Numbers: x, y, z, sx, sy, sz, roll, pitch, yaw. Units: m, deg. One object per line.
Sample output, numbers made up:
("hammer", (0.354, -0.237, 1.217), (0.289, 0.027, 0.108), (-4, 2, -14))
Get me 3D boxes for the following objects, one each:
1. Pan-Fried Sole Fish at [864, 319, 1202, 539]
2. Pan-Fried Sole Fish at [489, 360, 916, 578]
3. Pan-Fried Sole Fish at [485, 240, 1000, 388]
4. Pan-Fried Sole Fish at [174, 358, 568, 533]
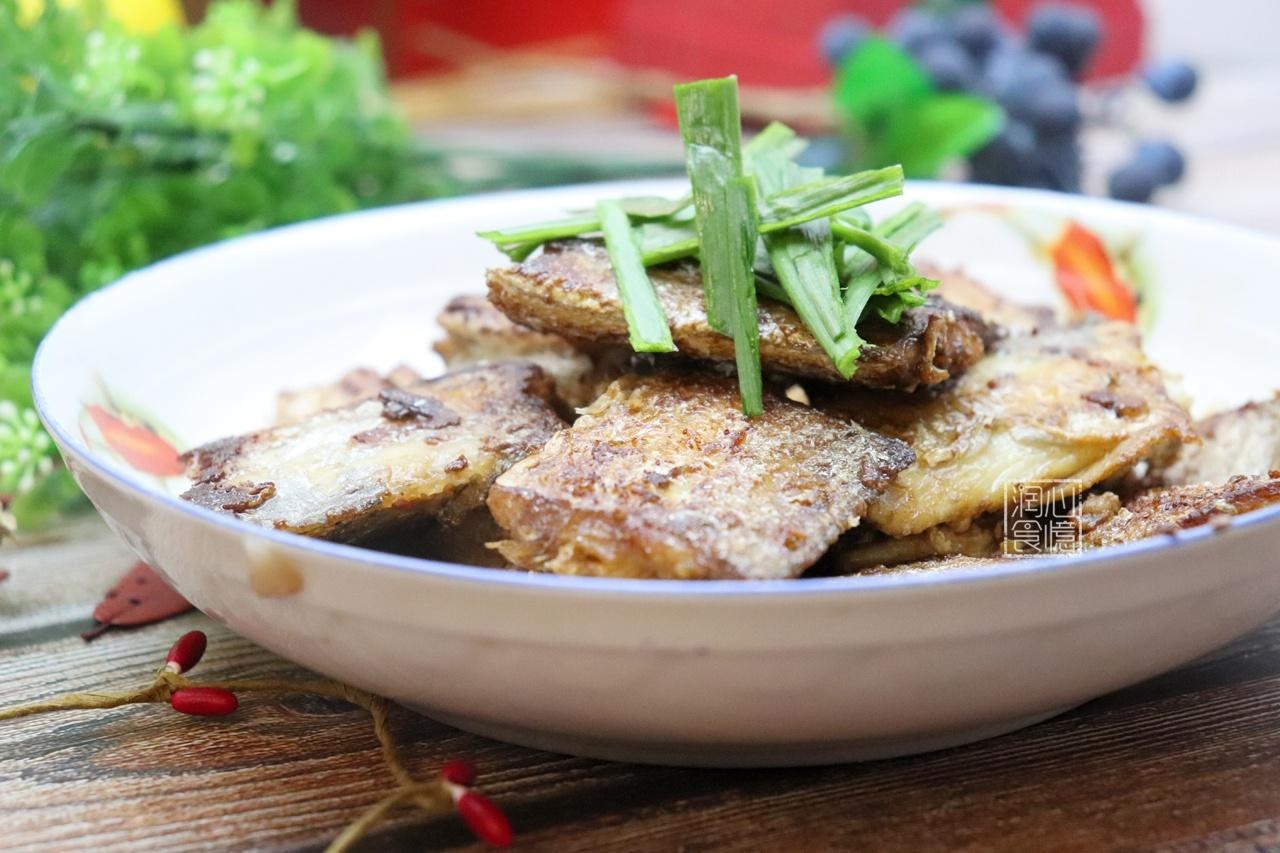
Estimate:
("Pan-Fried Sole Fish", (0.710, 0.026, 2.147), (0.604, 0.119, 0.379), (-13, 32, -5))
("Pan-Fried Sole Fish", (0.109, 0.071, 1.981), (0.693, 0.118, 0.597), (-18, 34, -15))
("Pan-Fried Sole Fish", (0.144, -0.188, 2.089), (0.691, 0.361, 0.124), (11, 94, 6))
("Pan-Fried Sole Fish", (-0.455, 0.051, 2.081), (0.610, 0.078, 0.318), (-16, 20, -26))
